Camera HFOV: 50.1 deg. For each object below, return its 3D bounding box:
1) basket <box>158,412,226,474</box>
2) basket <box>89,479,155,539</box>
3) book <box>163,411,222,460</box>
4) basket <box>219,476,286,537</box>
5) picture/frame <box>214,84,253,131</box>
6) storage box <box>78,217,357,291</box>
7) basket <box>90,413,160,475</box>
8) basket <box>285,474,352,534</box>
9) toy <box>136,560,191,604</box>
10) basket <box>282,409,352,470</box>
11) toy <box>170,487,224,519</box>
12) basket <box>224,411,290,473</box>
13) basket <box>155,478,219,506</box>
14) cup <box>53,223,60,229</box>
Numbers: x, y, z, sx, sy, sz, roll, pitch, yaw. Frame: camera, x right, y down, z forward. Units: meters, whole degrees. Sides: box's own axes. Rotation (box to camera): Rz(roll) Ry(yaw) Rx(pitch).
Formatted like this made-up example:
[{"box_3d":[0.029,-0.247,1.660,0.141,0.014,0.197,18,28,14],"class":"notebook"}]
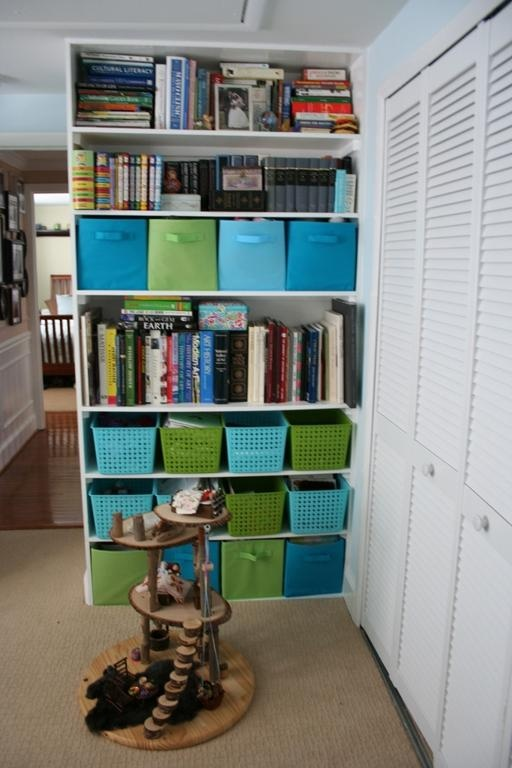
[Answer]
[{"box_3d":[-0.264,0.212,2.232,0.209,0.209,0.227,-1,11,-7],"class":"basket"},{"box_3d":[-0.541,0.517,2.294,0.270,0.196,0.205,-1,4,-12],"class":"basket"},{"box_3d":[-0.258,0.207,2.218,0.181,0.180,0.195,-1,10,-6],"class":"book"},{"box_3d":[-0.001,0.507,2.293,0.196,0.178,0.256,0,-1,-4],"class":"basket"},{"box_3d":[-0.085,-1.008,2.005,0.171,0.224,0.017,-1,8,-10],"class":"picture/frame"},{"box_3d":[-0.134,-0.480,2.061,1.032,0.267,0.156,0,8,-4],"class":"storage box"},{"box_3d":[-0.511,0.210,2.231,0.197,0.187,0.262,0,11,-7],"class":"basket"},{"box_3d":[0.249,0.497,2.296,0.193,0.173,0.250,-1,-5,-2],"class":"basket"},{"box_3d":[-0.302,0.631,1.774,0.125,0.078,0.105,2,8,13],"class":"toy"},{"box_3d":[0.254,0.226,2.320,0.200,0.182,0.253,0,2,-2],"class":"basket"},{"box_3d":[-0.178,0.352,1.675,0.158,0.056,0.183,-1,10,-10],"class":"toy"},{"box_3d":[-0.004,0.246,2.274,0.215,0.230,0.232,0,5,-3],"class":"basket"},{"box_3d":[-0.285,0.427,2.286,0.206,0.076,0.147,1,3,0],"class":"basket"},{"box_3d":[-2.766,-2.221,7.714,0.076,0.063,0.081,1,38,-1],"class":"cup"}]
